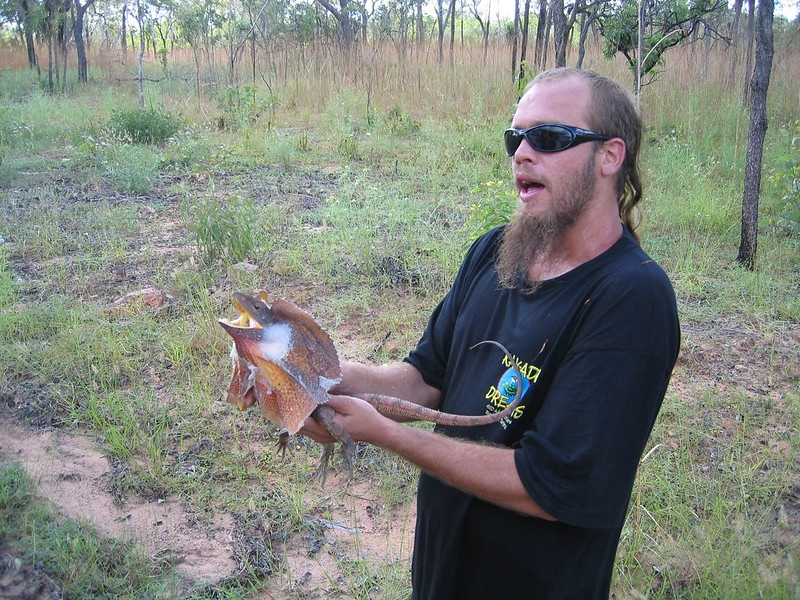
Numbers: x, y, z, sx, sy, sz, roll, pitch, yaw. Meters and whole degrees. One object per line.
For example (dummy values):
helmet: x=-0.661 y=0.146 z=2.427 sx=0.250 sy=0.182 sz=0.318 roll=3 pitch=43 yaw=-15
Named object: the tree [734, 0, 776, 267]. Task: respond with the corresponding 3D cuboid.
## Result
tree: x=3.874 y=-1.806 z=7.295 sx=0.237 sy=2.767 sz=1.030 roll=6 pitch=17 yaw=27
